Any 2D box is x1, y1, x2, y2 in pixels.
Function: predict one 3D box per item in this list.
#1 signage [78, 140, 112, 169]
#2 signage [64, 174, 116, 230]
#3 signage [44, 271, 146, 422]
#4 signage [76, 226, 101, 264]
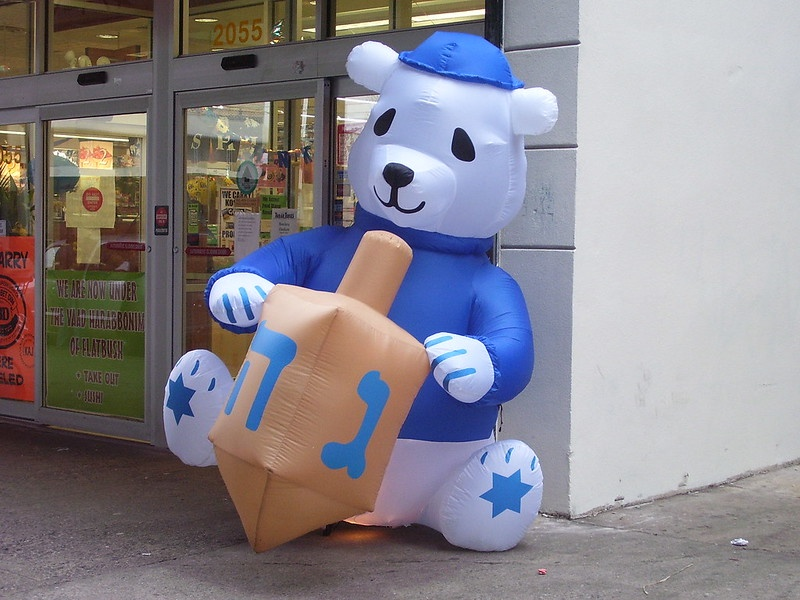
[{"bbox_3d":[-2.492,-1.203,6.985,0.226,0.161,0.126,-2,-18,28],"label":"signage"},{"bbox_3d":[-2.539,-0.816,7.025,0.472,0.480,0.023,1,-4,28],"label":"signage"},{"bbox_3d":[-2.463,0.380,6.972,1.224,1.267,0.060,2,2,34],"label":"signage"},{"bbox_3d":[-2.573,-0.456,7.042,0.297,0.412,0.020,3,5,31],"label":"signage"}]
